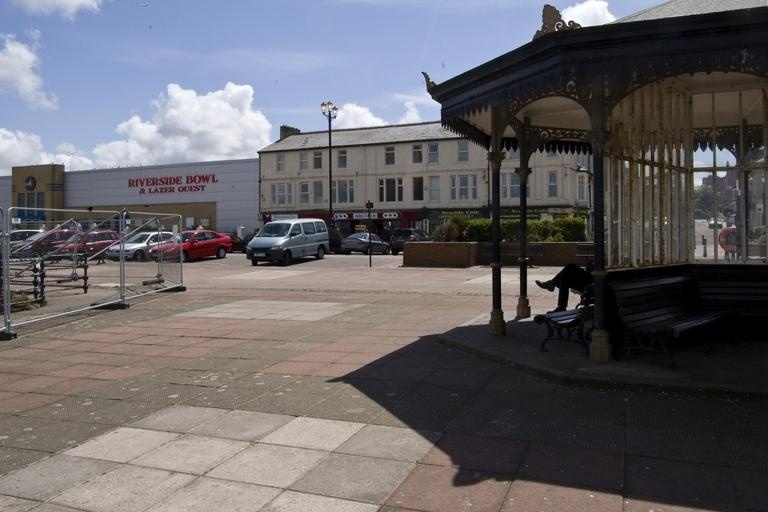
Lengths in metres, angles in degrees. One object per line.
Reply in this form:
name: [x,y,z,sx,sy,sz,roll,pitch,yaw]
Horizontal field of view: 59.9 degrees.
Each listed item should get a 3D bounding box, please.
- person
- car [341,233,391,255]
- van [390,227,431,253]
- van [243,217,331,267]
person: [3.062,0.461,10.381,1.232,1.453,0.585,7,-1,9]
car: [-0.728,-0.699,40.147,1.249,0.863,2.802,4,7,44]
van: [1.553,-1.002,40.999,1.188,0.926,2.467,1,5,27]
van: [-4.479,-0.671,30.542,1.826,1.476,3.728,-3,-2,21]
